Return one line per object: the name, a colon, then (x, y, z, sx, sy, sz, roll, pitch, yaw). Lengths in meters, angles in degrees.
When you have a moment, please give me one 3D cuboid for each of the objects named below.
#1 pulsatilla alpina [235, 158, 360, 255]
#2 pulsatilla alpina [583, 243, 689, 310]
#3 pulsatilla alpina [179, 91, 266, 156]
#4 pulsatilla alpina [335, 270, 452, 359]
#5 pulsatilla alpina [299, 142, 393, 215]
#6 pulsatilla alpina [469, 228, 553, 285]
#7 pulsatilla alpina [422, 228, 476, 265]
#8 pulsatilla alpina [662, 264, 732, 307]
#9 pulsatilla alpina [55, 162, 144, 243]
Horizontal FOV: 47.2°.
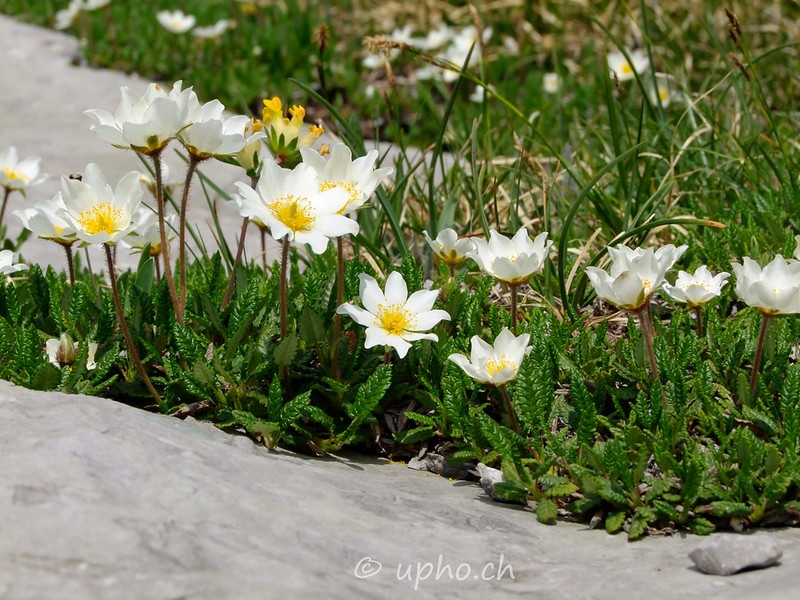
pulsatilla alpina: (-0.410, -0.368, 3.364, 0.304, 0.347, 0.122, -3, 63, -46)
pulsatilla alpina: (0.848, -0.104, 3.318, 0.246, 0.203, 0.299, -15, 9, 29)
pulsatilla alpina: (-0.660, -0.596, 3.349, 0.233, 0.110, 0.262, -20, 73, -19)
pulsatilla alpina: (-0.030, 0.066, 3.344, 0.386, 0.132, 0.358, -17, 16, -36)
pulsatilla alpina: (-0.214, -0.481, 3.482, 0.304, 0.158, 0.306, 4, -15, 29)
pulsatilla alpina: (0.428, -0.122, 3.454, 0.212, 0.160, 0.239, -9, 10, 16)
pulsatilla alpina: (0.216, -0.210, 3.653, 0.141, 0.104, 0.160, 2, 14, -28)
pulsatilla alpina: (1.110, -0.048, 3.474, 0.186, 0.093, 0.186, -29, 29, -27)
pulsatilla alpina: (-1.084, -0.337, 3.433, 0.340, 0.235, 0.410, -10, 0, 14)
